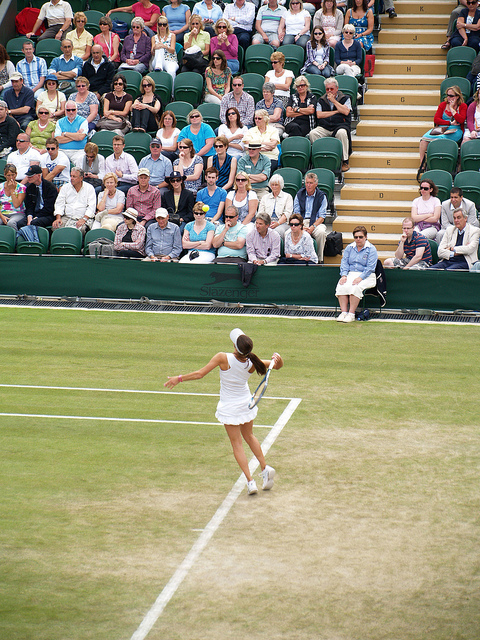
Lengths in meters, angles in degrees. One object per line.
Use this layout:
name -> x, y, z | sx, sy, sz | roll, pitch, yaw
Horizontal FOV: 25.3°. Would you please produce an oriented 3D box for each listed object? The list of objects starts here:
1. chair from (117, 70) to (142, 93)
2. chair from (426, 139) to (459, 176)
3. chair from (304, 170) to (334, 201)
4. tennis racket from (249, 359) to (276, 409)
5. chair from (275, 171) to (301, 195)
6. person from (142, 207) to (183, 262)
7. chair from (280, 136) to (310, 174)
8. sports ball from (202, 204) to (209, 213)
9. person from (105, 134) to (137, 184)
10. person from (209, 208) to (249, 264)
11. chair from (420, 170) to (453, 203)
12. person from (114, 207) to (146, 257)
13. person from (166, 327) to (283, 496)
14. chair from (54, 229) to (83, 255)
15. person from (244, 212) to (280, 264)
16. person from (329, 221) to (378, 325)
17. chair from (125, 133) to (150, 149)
chair -> -2.110, -4.702, 20.896 | 0.427, 0.496, 0.439 | 0, 7, -1
chair -> 3.531, -2.801, 18.294 | 0.557, 0.649, 0.604 | 5, 1, 13
chair -> 1.381, -2.310, 17.983 | 0.437, 0.550, 0.494 | -1, 2, 7
tennis racket -> 0.220, 0.655, 10.705 | 0.054, 0.221, 0.796 | 40, -20, 6
chair -> 0.837, -2.332, 18.011 | 0.446, 0.517, 0.454 | 2, 10, 7
person -> -1.221, -1.376, 16.961 | 0.602, 0.877, 0.576 | -1, 15, -4
chair -> 0.974, -2.919, 18.773 | 0.616, 0.707, 0.582 | 1, -2, 10
sports ball -> -0.547, -1.785, 16.919 | 0.130, 0.137, 0.122 | 0, 13, 0
person -> -2.023, -2.779, 18.382 | 0.517, 0.830, 0.428 | -4, 16, -13
person -> -0.170, -1.357, 16.807 | 0.582, 0.847, 0.675 | 1, 15, 4
chair -> 3.282, -2.229, 17.590 | 0.557, 0.643, 0.586 | -1, 1, 8
person -> -1.754, -1.405, 17.009 | 0.509, 0.807, 0.490 | -2, 15, -6
person -> -0.167, 0.964, 10.681 | 1.382, 1.677, 0.684 | -4, 15, -8
chair -> -2.753, -1.264, 17.465 | 0.523, 0.443, 0.391 | 0, -4, 0
person -> 0.340, -1.281, 16.451 | 0.519, 0.805, 0.507 | 0, 15, 2
person -> 1.617, -0.701, 15.815 | 0.632, 1.435, 0.706 | -7, 17, -23
chair -> -1.854, -3.247, 19.287 | 0.383, 0.332, 0.329 | 1, 4, 6
